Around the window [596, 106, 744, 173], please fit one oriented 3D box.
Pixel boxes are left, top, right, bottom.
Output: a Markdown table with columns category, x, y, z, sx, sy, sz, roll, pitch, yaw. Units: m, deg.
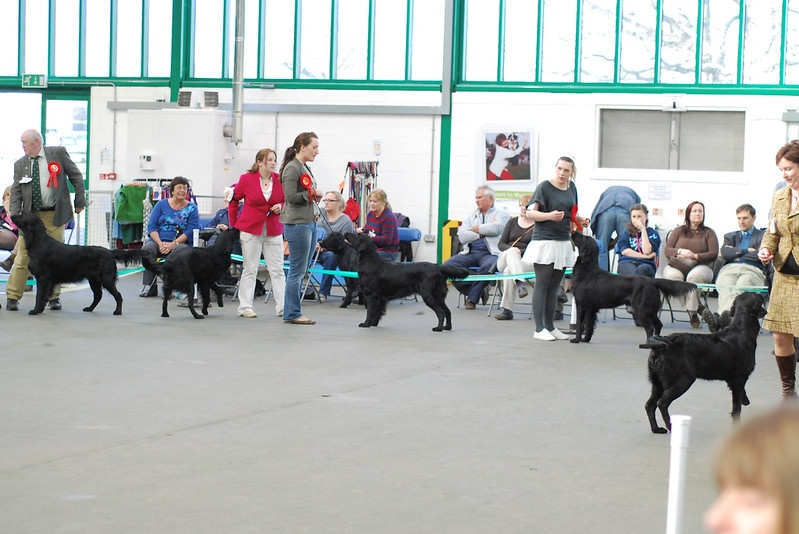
| category | x | y | z | sx | sy | sz | roll | pitch | yaw |
| --- | --- | --- | --- | --- | --- | --- | --- | --- | --- |
| window | 4.578 | -2.149 | 17.678 | 2.330 | 0.984 | 0.212 | 3 | 4 | 14 |

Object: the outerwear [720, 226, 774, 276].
| category | x | y | z | sx | sy | sz | roll | pitch | yaw |
| --- | --- | --- | --- | --- | --- | --- | --- | --- | --- |
| outerwear | 4.032 | -0.162 | 12.164 | 0.412 | 0.685 | 0.587 | 8 | -7 | -43 |

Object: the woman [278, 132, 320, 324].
| category | x | y | z | sx | sy | sz | roll | pitch | yaw |
| --- | --- | --- | --- | --- | --- | --- | --- | --- | --- |
| woman | -1.141 | -0.427 | 12.099 | 0.460 | 2.228 | 0.621 | 2 | 4 | -6 |

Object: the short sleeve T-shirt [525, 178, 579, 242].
| category | x | y | z | sx | sy | sz | roll | pitch | yaw |
| --- | --- | --- | --- | --- | --- | --- | --- | --- | --- |
| short sleeve T-shirt | 1.683 | -0.610 | 11.417 | 0.516 | 0.655 | 0.349 | 2 | 4 | 1 |

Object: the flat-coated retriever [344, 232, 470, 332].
| category | x | y | z | sx | sy | sz | roll | pitch | yaw |
| --- | --- | --- | --- | --- | --- | --- | --- | --- | --- |
| flat-coated retriever | 0.078 | 0.191 | 12.354 | 1.633 | 1.050 | 0.412 | 5 | 1 | 22 |

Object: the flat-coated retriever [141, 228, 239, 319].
| category | x | y | z | sx | sy | sz | roll | pitch | yaw |
| --- | --- | --- | --- | --- | --- | --- | --- | --- | --- |
| flat-coated retriever | -2.535 | 0.080 | 12.644 | 1.597 | 1.088 | 0.411 | -1 | 0 | -44 |

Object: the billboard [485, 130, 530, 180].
| category | x | y | z | sx | sy | sz | roll | pitch | yaw |
| --- | --- | --- | --- | --- | --- | --- | --- | --- | --- |
| billboard | 1.912 | -1.930 | 18.049 | 0.906 | 0.876 | 0.088 | 0 | -3 | 16 |

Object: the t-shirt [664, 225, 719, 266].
| category | x | y | z | sx | sy | sz | roll | pitch | yaw |
| --- | --- | --- | --- | --- | --- | --- | --- | --- | --- |
| t-shirt | 3.722 | -0.283 | 13.381 | 0.756 | 0.596 | 0.489 | -1 | -14 | 34 |

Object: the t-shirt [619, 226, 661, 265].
| category | x | y | z | sx | sy | sz | roll | pitch | yaw |
| --- | --- | --- | --- | --- | --- | --- | --- | --- | --- |
| t-shirt | 3.086 | -0.260 | 13.454 | 0.435 | 0.478 | 0.271 | -2 | -20 | 25 |

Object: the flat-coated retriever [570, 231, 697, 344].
| category | x | y | z | sx | sy | sz | roll | pitch | yaw |
| --- | --- | --- | --- | --- | --- | --- | --- | --- | --- |
| flat-coated retriever | 2.421 | 0.290 | 11.515 | 1.662 | 1.178 | 0.455 | 7 | -3 | 37 |
